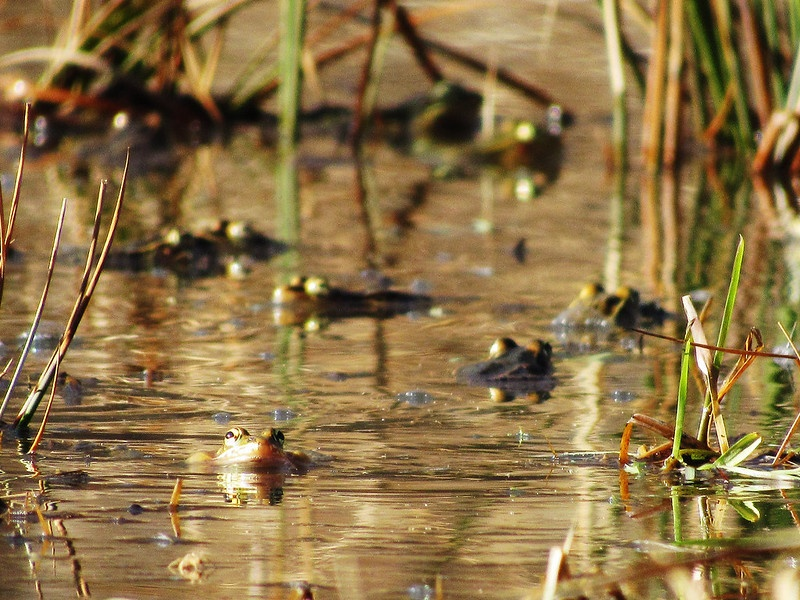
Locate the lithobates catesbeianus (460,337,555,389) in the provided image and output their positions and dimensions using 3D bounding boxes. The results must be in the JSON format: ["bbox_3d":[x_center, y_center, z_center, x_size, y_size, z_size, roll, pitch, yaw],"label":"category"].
[{"bbox_3d":[0.267,0.148,2.700,0.242,0.298,0.097,4,98,11],"label":"lithobates catesbeianus"}]

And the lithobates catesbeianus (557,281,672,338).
[{"bbox_3d":[0.626,0.042,3.313,0.327,0.332,0.093,-4,74,-3],"label":"lithobates catesbeianus"}]

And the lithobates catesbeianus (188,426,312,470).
[{"bbox_3d":[-0.273,0.276,2.071,0.224,0.082,0.080,1,71,-5],"label":"lithobates catesbeianus"}]
